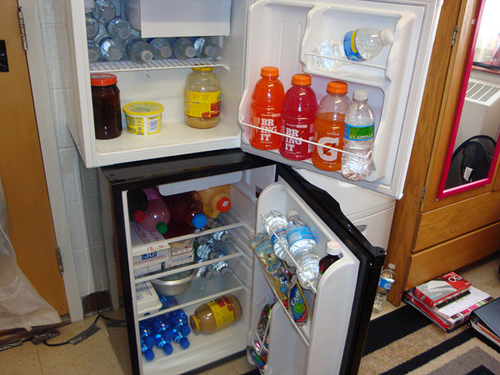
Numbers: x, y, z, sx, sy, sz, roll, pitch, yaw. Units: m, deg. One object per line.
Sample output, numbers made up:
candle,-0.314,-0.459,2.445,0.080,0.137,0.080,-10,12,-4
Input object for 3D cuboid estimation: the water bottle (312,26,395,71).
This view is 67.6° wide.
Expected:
water bottle,0.342,-0.480,1.240,0.274,0.115,0.116,16,34,24

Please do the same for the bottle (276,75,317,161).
bottle,0.167,-0.245,1.359,0.145,0.299,0.188,6,31,10

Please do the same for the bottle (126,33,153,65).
bottle,-0.467,-0.578,1.555,0.074,0.078,0.196,-17,37,-21

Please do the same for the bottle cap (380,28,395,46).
bottle cap,0.430,-0.474,1.165,0.044,0.045,0.085,10,32,16

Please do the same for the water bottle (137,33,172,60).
water bottle,-0.407,-0.598,1.567,0.077,0.081,0.198,17,12,-38

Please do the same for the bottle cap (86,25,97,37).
bottle cap,-0.599,-0.592,1.408,0.034,0.042,0.065,-11,33,-18

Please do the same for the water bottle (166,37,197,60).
water bottle,-0.311,-0.612,1.641,0.084,0.089,0.219,-3,25,-33

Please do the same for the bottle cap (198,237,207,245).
bottle cap,-0.228,0.252,1.795,0.031,0.035,0.033,10,4,19

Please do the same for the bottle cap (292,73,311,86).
bottle cap,0.183,-0.388,1.335,0.067,0.033,0.056,-12,33,-19

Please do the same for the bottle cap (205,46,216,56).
bottle cap,-0.172,-0.601,1.636,0.035,0.037,0.033,-14,32,-17

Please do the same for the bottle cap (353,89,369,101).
bottle cap,0.366,-0.311,1.218,0.036,0.013,0.037,28,44,34

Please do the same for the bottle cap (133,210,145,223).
bottle cap,-0.465,0.116,1.568,0.043,0.044,0.043,30,3,-34

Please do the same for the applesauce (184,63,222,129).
applesauce,-0.212,-0.401,1.712,0.147,0.295,0.142,-19,37,-35

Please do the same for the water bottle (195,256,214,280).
water bottle,-0.227,0.392,1.864,0.079,0.084,0.223,-16,11,-16

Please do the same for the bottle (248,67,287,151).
bottle,0.073,-0.314,1.436,0.167,0.310,0.171,2,31,-1

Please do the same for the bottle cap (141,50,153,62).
bottle cap,-0.416,-0.538,1.512,0.040,0.043,0.038,-13,32,-25

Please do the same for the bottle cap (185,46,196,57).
bottle cap,-0.256,-0.583,1.590,0.039,0.040,0.030,-9,34,-29

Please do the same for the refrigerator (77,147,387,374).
refrigerator,-0.105,0.299,1.576,0.594,0.734,0.827,-14,37,-23

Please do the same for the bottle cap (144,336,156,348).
bottle cap,-0.484,0.740,1.802,0.048,0.049,0.045,0,26,-22

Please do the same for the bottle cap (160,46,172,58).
bottle cap,-0.353,-0.573,1.596,0.040,0.040,0.042,-47,42,0

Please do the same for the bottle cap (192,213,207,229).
bottle cap,-0.226,0.147,1.675,0.057,0.061,0.034,-12,23,-32

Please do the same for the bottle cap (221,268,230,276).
bottle cap,-0.126,0.426,1.912,0.033,0.032,0.033,34,31,15

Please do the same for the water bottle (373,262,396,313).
water bottle,0.800,0.604,2.217,0.125,0.318,0.129,9,17,-3

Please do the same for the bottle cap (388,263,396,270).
bottle cap,0.830,0.453,2.180,0.033,0.033,0.034,0,13,-3

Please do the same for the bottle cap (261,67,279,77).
bottle cap,0.078,-0.437,1.401,0.075,0.031,0.049,-5,32,-9

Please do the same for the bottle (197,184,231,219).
bottle,-0.154,0.083,1.813,0.169,0.111,0.176,-23,46,26

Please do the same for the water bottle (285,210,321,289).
water bottle,0.190,0.207,1.314,0.102,0.112,0.324,-2,32,-4

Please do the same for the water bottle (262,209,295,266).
water bottle,0.110,0.192,1.419,0.082,0.086,0.228,-9,55,-20

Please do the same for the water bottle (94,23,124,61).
water bottle,-0.556,-0.582,1.531,0.137,0.178,0.131,4,25,-2

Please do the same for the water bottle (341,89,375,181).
water bottle,0.372,-0.177,1.264,0.111,0.293,0.117,0,30,0

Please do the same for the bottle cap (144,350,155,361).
bottle cap,-0.481,0.800,1.786,0.045,0.045,0.043,-4,5,-21

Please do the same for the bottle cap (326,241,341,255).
bottle cap,0.261,0.179,1.162,0.036,0.022,0.036,-23,38,-37

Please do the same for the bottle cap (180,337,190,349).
bottle cap,-0.329,0.778,1.877,0.041,0.042,0.072,1,2,-14

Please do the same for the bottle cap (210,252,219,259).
bottle cap,-0.174,0.328,1.812,0.026,0.026,0.047,-5,1,3

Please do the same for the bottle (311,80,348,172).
bottle,0.303,-0.224,1.381,0.154,0.303,0.158,3,14,-1

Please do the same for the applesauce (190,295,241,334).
applesauce,-0.193,0.655,2.016,0.211,0.189,0.222,-13,31,-28

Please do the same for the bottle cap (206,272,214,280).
bottle cap,-0.197,0.434,1.860,0.030,0.031,0.032,-1,37,-10

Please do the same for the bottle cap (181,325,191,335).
bottle cap,-0.327,0.726,1.907,0.038,0.029,0.039,34,60,21

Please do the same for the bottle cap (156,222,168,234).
bottle cap,-0.393,0.177,1.661,0.043,0.046,0.043,-5,16,-30

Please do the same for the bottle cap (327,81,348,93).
bottle cap,0.302,-0.349,1.277,0.063,0.031,0.082,12,33,19

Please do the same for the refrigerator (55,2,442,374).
refrigerator,-0.071,-0.018,1.545,1.060,1.517,1.059,-8,39,-19

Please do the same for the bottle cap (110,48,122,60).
bottle cap,-0.527,-0.528,1.465,0.035,0.036,0.062,0,9,-18

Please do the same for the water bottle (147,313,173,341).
water bottle,-0.462,0.704,1.917,0.124,0.035,0.034,-37,82,-22
